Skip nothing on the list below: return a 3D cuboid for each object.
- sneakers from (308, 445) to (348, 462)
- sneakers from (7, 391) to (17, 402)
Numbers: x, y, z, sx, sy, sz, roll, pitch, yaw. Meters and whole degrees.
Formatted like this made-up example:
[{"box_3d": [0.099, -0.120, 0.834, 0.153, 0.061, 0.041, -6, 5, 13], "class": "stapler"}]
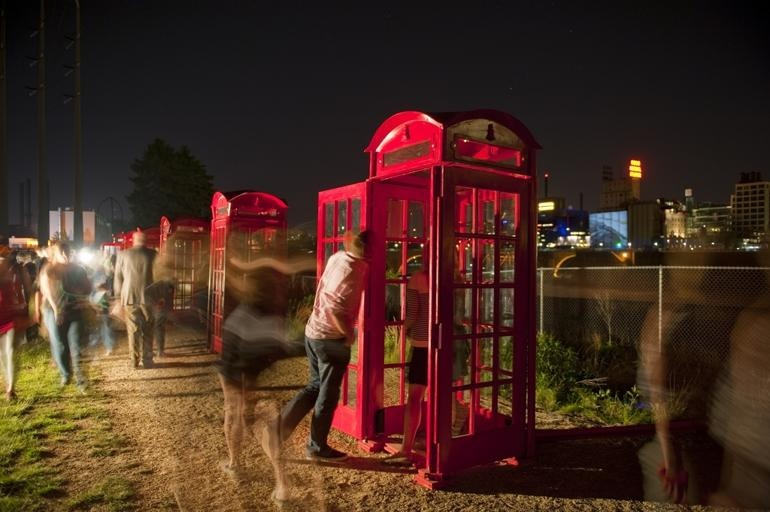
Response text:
[{"box_3d": [-0.756, 2.569, 8.135, 0.470, 0.214, 0.208, 2, 1, -17], "class": "sneakers"}, {"box_3d": [-5.865, 2.202, 9.738, 0.124, 0.151, 0.128, 3, 5, 21], "class": "sneakers"}]
